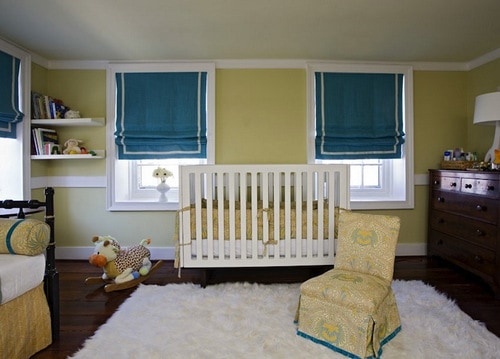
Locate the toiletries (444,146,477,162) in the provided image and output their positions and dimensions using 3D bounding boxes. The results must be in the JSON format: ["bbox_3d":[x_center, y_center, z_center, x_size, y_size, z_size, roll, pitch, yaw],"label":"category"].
[{"bbox_3d":[2.307,-0.288,4.601,0.227,0.103,0.167,0,1,-19],"label":"toiletries"}]

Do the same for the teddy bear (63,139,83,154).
[{"bbox_3d":[-1.924,-0.364,4.576,0.137,0.182,0.093,-3,-14,-21],"label":"teddy bear"}]

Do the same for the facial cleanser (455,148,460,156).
[{"bbox_3d":[2.295,-0.301,4.627,0.057,0.091,0.117,0,4,21],"label":"facial cleanser"}]

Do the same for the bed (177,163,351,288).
[{"bbox_3d":[0.044,0.406,4.503,1.573,1.179,1.121,0,-2,-2],"label":"bed"}]

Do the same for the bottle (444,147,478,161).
[{"bbox_3d":[2.291,-0.283,4.584,0.255,0.119,0.154,-1,1,-8],"label":"bottle"}]

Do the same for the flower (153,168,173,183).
[{"bbox_3d":[-0.980,-0.057,4.787,0.156,0.150,0.062,1,-2,-17],"label":"flower"}]

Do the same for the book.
[{"bbox_3d":[-2.172,-0.630,4.515,0.368,0.706,0.695,1,0,-10],"label":"book"}]

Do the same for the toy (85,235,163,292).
[{"bbox_3d":[-1.197,0.802,4.125,0.330,0.621,0.865,-7,-1,40],"label":"toy"}]
